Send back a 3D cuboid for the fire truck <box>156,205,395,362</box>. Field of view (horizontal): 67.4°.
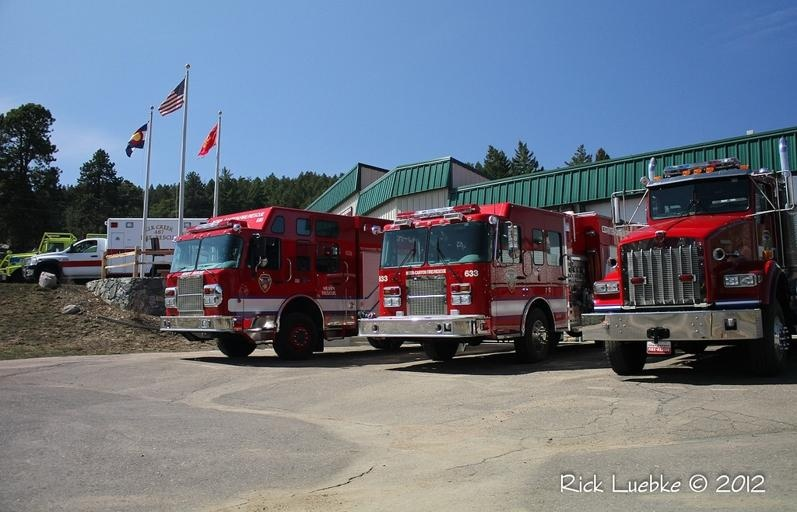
[{"bbox_3d":[-2.995,0.875,18.219,4.128,2.857,6.217,-6,-9,38],"label":"fire truck"}]

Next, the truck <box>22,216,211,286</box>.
[{"bbox_3d":[-15.372,0.034,33.473,9.494,3.809,3.428,-1,-7,-23],"label":"truck"}]
